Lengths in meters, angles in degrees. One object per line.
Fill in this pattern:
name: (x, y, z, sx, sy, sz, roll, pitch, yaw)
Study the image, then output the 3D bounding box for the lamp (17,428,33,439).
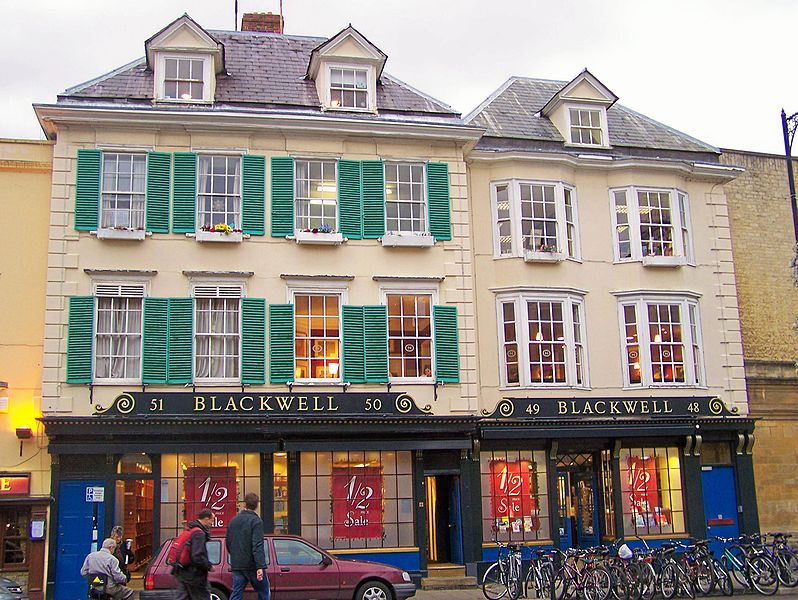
lamp: (-10.131, 3.611, 26.031, 0.404, 0.272, 0.403, 2, -14, -21)
